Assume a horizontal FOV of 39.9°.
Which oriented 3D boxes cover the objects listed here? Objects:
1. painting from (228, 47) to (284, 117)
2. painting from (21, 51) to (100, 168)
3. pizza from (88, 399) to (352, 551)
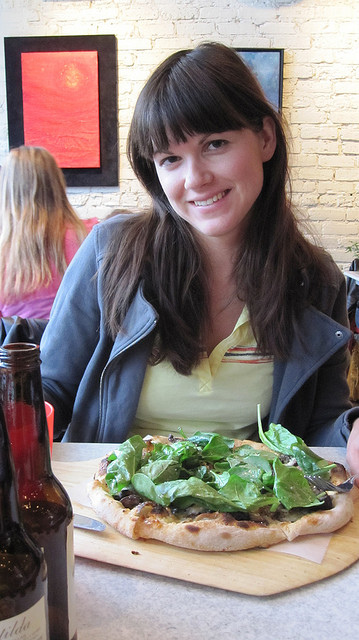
[{"bbox_3d":[0.499,-1.560,3.263,0.366,0.452,0.018,1,3,3],"label":"painting"},{"bbox_3d":[-0.814,-1.440,3.411,0.545,0.745,0.066,4,14,13],"label":"painting"},{"bbox_3d":[0.067,0.218,0.700,0.389,0.080,0.240,-1,15,-10],"label":"pizza"}]
